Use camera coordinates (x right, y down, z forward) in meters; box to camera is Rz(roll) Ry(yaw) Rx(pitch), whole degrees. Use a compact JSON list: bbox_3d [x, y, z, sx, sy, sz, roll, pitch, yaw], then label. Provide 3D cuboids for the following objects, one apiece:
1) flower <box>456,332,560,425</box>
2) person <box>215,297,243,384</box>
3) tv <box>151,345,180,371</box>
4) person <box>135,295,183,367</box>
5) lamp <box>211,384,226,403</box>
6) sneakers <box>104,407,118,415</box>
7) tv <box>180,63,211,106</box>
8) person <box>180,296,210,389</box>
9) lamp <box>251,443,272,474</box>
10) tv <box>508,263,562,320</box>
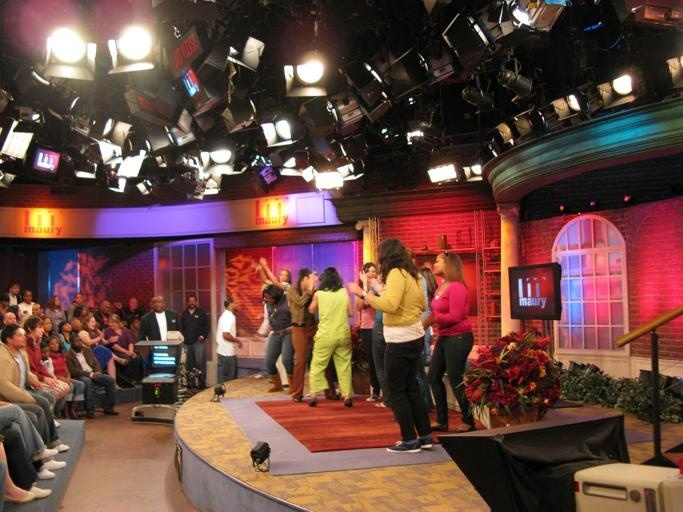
[{"bbox_3d":[1.827,1.281,5.510,0.844,0.894,0.829,-5,-5,3],"label":"flower"},{"bbox_3d":[-2.232,1.677,10.638,0.442,1.723,1.240,-2,-6,-13],"label":"person"},{"bbox_3d":[-3.093,1.796,9.498,0.468,0.440,0.234,1,3,3],"label":"tv"},{"bbox_3d":[-3.883,1.916,11.509,0.920,2.041,0.629,-3,-2,-21],"label":"person"},{"bbox_3d":[-1.893,2.115,8.202,0.204,0.288,0.271,7,-5,-26],"label":"lamp"},{"bbox_3d":[-4.387,3.000,10.292,0.308,0.193,0.103,1,-5,-3],"label":"sneakers"},{"bbox_3d":[-2.033,-2.469,7.529,0.345,0.497,0.358,-16,24,-18],"label":"tv"},{"bbox_3d":[-3.243,1.915,11.890,0.565,2.000,0.470,-6,-6,30],"label":"person"},{"bbox_3d":[-0.728,1.824,4.881,0.152,0.244,0.325,-2,-6,-6],"label":"lamp"},{"bbox_3d":[2.665,0.510,7.533,1.025,0.777,0.124,0,-3,-32],"label":"tv"}]
